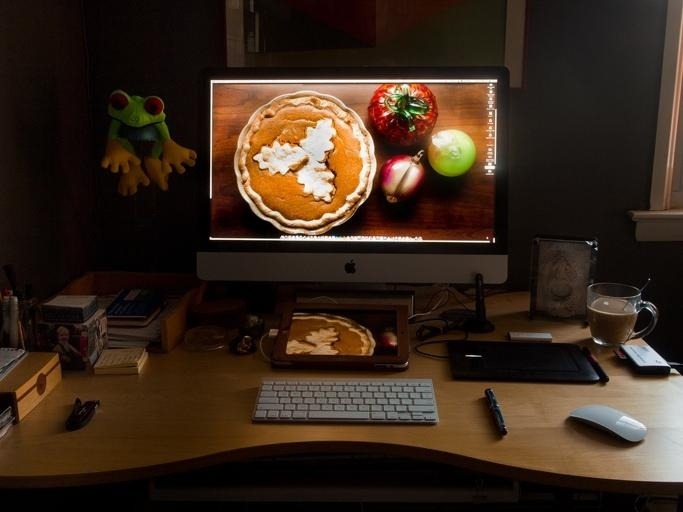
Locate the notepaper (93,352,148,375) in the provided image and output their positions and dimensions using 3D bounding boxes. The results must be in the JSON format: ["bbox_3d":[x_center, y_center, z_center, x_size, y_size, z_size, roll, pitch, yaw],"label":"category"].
[{"bbox_3d":[-0.518,0.250,1.294,0.060,0.017,0.062,1,28,-1],"label":"notepaper"}]

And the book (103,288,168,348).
[{"bbox_3d":[-0.538,0.152,1.444,0.111,0.048,0.157,2,25,-2],"label":"book"}]

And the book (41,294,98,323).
[{"bbox_3d":[-0.630,0.124,1.276,0.069,0.030,0.085,0,6,-7],"label":"book"}]

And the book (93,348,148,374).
[{"bbox_3d":[-0.522,0.247,1.294,0.063,0.017,0.065,-1,25,-3],"label":"book"}]

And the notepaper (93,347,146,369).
[{"bbox_3d":[-0.520,0.244,1.295,0.056,0.014,0.057,-2,19,-7],"label":"notepaper"}]

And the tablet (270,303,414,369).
[{"bbox_3d":[-0.002,0.192,1.334,0.234,0.026,0.175,2,40,2],"label":"tablet"}]

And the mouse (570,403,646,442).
[{"bbox_3d":[0.534,0.324,1.077,0.100,0.029,0.062,16,19,42],"label":"mouse"}]

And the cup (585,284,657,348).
[{"bbox_3d":[0.717,0.154,1.392,0.167,0.128,0.109,4,13,23],"label":"cup"}]

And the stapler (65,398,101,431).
[{"bbox_3d":[-0.525,0.321,1.115,0.025,0.034,0.086,5,12,-3],"label":"stapler"}]
